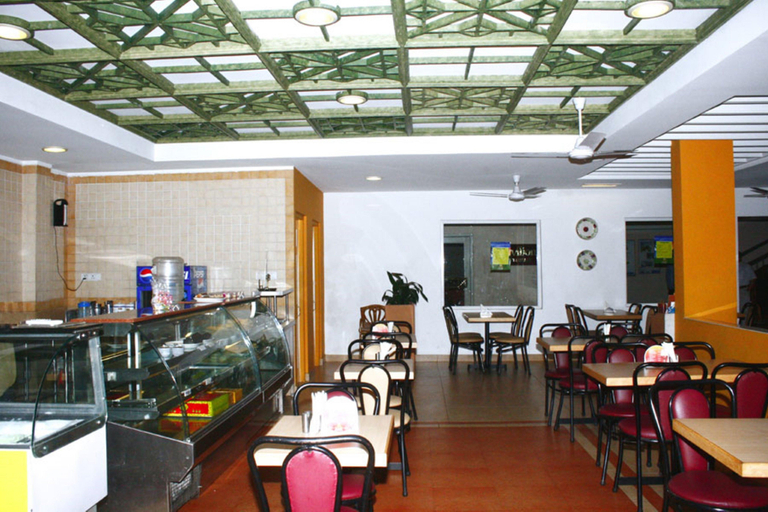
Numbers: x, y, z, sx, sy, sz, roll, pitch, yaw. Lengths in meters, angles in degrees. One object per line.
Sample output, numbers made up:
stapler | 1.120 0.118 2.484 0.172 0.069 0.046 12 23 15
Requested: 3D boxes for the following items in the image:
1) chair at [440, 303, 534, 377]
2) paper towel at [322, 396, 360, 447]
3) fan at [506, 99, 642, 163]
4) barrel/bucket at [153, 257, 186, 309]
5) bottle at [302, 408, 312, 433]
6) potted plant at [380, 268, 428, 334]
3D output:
chair | 1.677 1.436 9.021 1.446 0.847 1.083 0 0 7
paper towel | -0.308 1.163 3.984 0.115 0.196 0.287 -41 -29 22
fan | 2.050 -1.194 6.070 1.122 0.588 0.981 0 3 -44
barrel/bucket | -2.551 0.404 6.476 0.498 0.697 0.428 0 0 -20
bottle | -0.568 1.219 3.965 0.058 0.160 0.085 -3 8 -9
potted plant | 0.203 0.740 9.484 0.805 0.828 0.713 5 9 19
